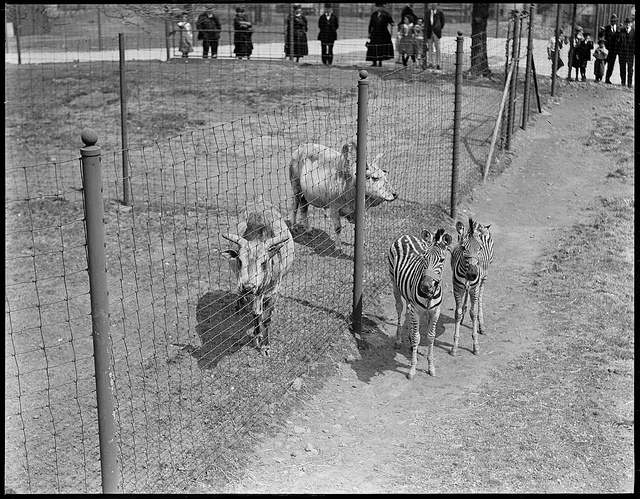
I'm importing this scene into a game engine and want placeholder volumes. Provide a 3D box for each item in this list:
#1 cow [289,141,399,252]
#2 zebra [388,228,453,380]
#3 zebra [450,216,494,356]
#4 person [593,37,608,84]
[{"bbox_3d":[0.299,-1.031,15.499,0.971,1.907,2.557,-9,19,-39],"label":"cow"},{"bbox_3d":[1.395,0.682,12.350,0.779,2.036,1.547,-2,16,1],"label":"zebra"},{"bbox_3d":[2.205,0.453,12.861,0.552,2.034,1.284,1,16,10],"label":"zebra"},{"bbox_3d":[8.904,-6.022,27.869,0.417,1.337,1.005,3,16,17],"label":"person"}]
